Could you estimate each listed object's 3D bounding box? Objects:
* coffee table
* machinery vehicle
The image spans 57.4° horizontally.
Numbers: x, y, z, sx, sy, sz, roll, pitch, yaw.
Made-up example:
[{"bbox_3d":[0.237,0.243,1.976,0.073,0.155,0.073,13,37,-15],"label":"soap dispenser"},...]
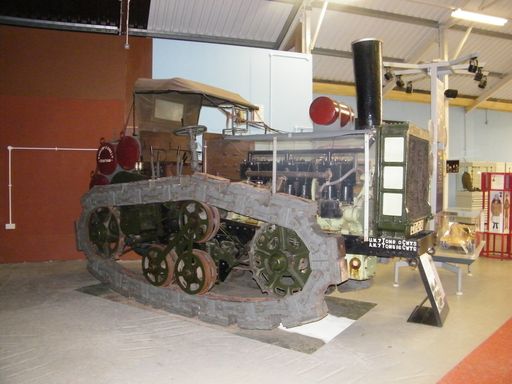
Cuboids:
[{"bbox_3d":[3.836,1.339,9.708,1.268,0.712,1.316,0,1,41],"label":"coffee table"},{"bbox_3d":[0.124,0.181,9.081,5.593,4.300,4.023,1,2,29],"label":"machinery vehicle"}]
